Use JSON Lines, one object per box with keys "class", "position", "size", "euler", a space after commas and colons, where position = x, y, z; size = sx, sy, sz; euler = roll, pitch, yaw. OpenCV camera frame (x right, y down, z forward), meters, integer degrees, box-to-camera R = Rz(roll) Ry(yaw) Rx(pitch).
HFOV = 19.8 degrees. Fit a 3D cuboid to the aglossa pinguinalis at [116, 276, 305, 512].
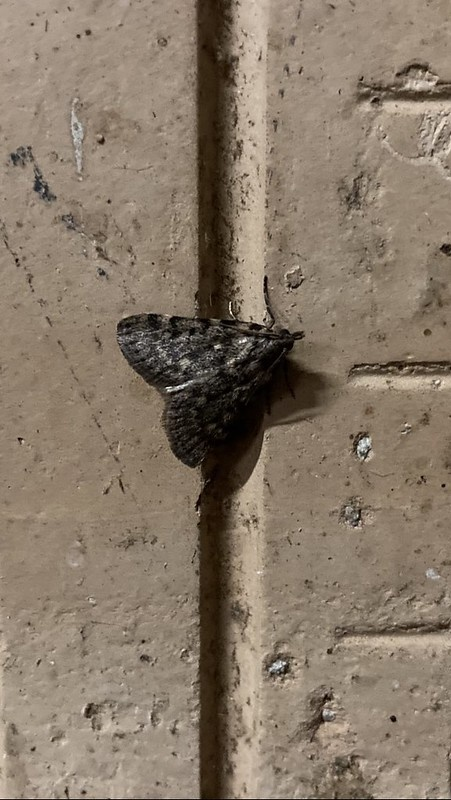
{"class": "aglossa pinguinalis", "position": [0.008, -0.036, 2.286], "size": [0.301, 0.148, 0.344], "euler": [-26, 83, -3]}
